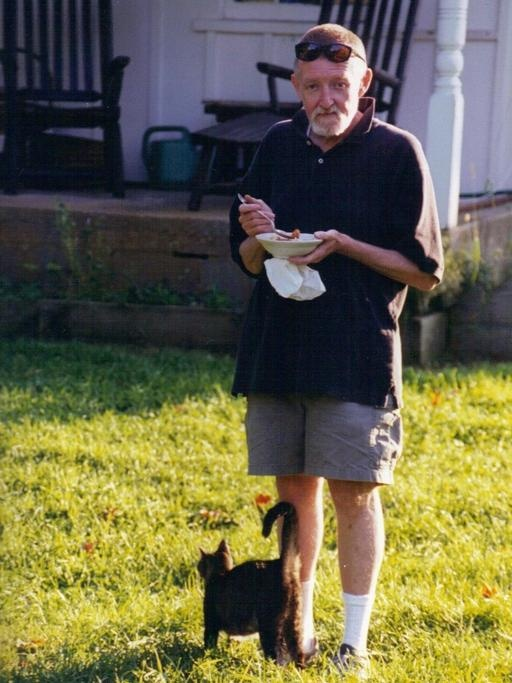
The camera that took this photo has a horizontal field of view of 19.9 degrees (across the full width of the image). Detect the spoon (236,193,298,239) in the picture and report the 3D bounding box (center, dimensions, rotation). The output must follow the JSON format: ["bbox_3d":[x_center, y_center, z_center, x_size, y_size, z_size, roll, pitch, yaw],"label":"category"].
[{"bbox_3d":[0.053,-0.465,5.345,0.234,0.036,0.047,47,23,28],"label":"spoon"}]

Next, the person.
[{"bbox_3d":[0.255,0.010,5.399,0.771,2.307,0.415,7,11,26],"label":"person"}]

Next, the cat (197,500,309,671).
[{"bbox_3d":[-0.116,0.951,5.379,0.242,0.634,0.761,1,-2,-31],"label":"cat"}]

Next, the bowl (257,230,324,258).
[{"bbox_3d":[0.122,-0.348,5.184,0.207,0.091,0.205,0,10,0],"label":"bowl"}]
